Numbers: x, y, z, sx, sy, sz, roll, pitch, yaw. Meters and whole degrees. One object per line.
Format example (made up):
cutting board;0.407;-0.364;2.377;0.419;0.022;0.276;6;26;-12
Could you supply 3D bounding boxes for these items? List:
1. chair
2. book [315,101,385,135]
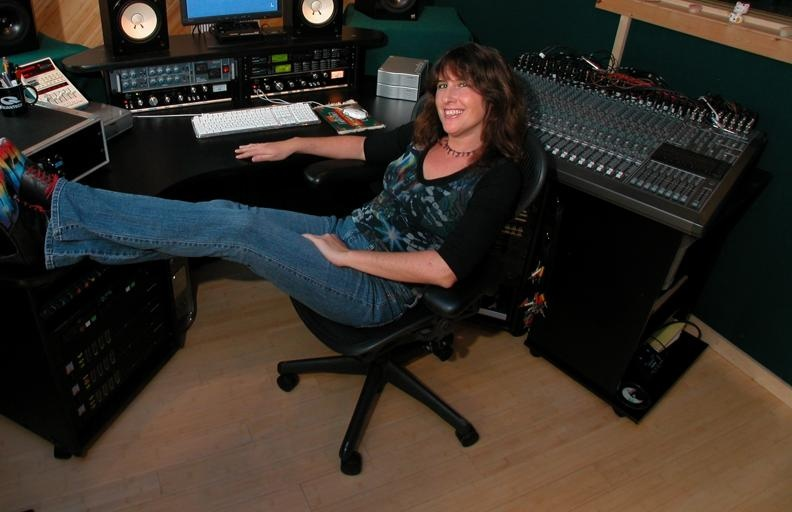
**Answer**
chair;-0.002;0.068;2.509;1.098;1.344;1.101;28;39;31
book;-0.225;-0.682;2.850;0.226;0.024;0.238;-19;49;-25
